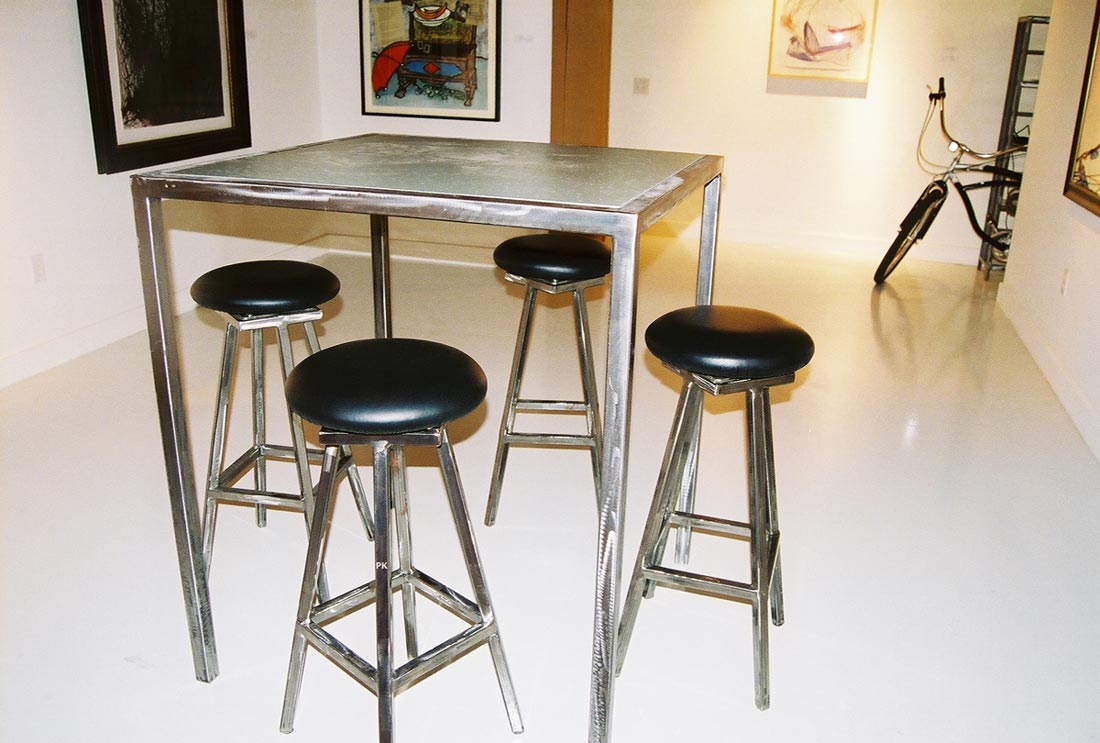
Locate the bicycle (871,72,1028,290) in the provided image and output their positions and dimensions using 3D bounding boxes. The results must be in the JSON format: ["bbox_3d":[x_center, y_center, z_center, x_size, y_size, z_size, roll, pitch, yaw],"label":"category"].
[{"bbox_3d":[3.166,-1.454,6.201,0.843,1.475,1.326,15,27,25],"label":"bicycle"}]

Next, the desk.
[{"bbox_3d":[-0.520,-0.004,3.245,1.892,2.132,2.061,9,30,20],"label":"desk"}]
